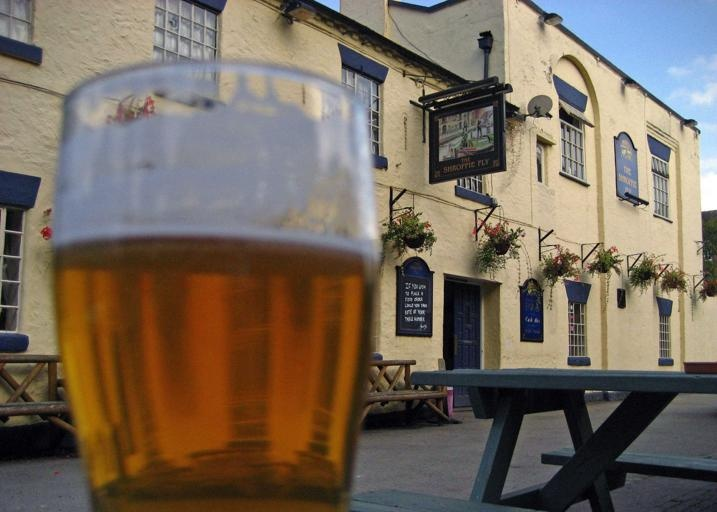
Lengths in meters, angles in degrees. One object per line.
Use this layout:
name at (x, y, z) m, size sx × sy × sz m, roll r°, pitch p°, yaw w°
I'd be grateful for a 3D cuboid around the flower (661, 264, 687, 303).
flower at (7.772, 0.648, 17.361) m, size 0.851 × 0.850 × 0.863 m, roll 0°, pitch -4°, yaw 31°

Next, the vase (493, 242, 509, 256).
vase at (2.237, -0.123, 11.046) m, size 0.190 × 0.148 × 0.181 m, roll 10°, pitch -15°, yaw -23°

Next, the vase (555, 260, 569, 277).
vase at (3.693, 0.217, 12.696) m, size 0.179 × 0.228 × 0.486 m, roll 1°, pitch -13°, yaw 22°

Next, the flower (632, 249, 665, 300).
flower at (6.604, 0.304, 16.296) m, size 0.864 × 0.567 × 1.264 m, roll -11°, pitch 36°, yaw 16°

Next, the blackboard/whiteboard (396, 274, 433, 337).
blackboard/whiteboard at (0.757, 0.707, 9.904) m, size 0.090 × 0.916 × 0.795 m, roll -9°, pitch -13°, yaw 39°

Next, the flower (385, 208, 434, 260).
flower at (0.722, -0.286, 9.598) m, size 0.672 × 0.535 × 0.686 m, roll -4°, pitch -9°, yaw 28°

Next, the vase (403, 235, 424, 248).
vase at (0.746, -0.198, 9.429) m, size 0.187 × 0.124 × 0.187 m, roll -2°, pitch 1°, yaw -17°

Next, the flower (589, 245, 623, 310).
flower at (4.977, 0.223, 14.223) m, size 0.519 × 0.682 × 0.463 m, roll -3°, pitch 7°, yaw 26°

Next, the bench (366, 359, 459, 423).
bench at (0.445, 1.804, 9.335) m, size 0.588 × 0.701 × 1.516 m, roll 11°, pitch -18°, yaw -34°

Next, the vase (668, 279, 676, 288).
vase at (7.560, 0.643, 16.995) m, size 0.178 × 0.192 × 0.182 m, roll 0°, pitch -6°, yaw 12°

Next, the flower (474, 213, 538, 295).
flower at (2.456, -0.127, 11.648) m, size 1.145 × 0.997 × 0.876 m, roll 11°, pitch -14°, yaw -26°
